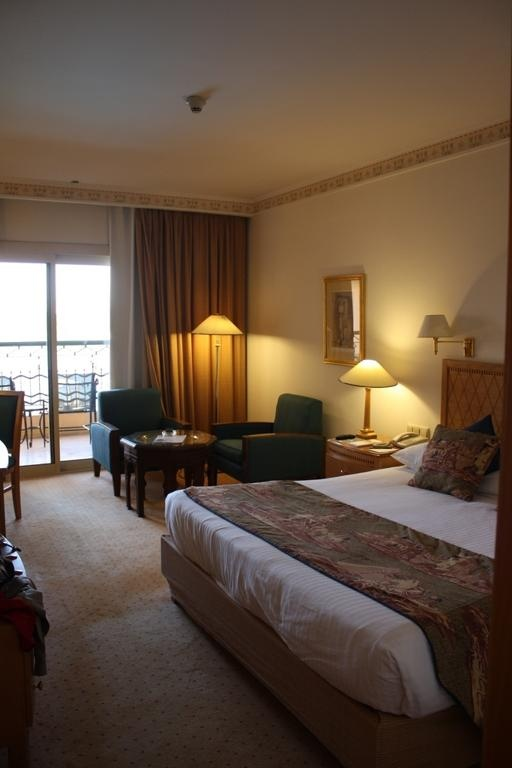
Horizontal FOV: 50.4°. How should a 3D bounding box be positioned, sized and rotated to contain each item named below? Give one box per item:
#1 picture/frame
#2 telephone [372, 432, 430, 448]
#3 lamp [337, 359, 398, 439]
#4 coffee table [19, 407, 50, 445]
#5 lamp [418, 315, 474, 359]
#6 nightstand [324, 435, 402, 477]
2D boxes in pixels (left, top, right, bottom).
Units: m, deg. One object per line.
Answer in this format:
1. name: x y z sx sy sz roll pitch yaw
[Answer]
1. picture/frame: 0.770 -0.571 4.850 0.049 0.805 0.579 -1 4 -27
2. telephone: 1.088 0.426 4.035 0.234 0.075 0.174 -6 5 -20
3. lamp: 0.839 0.095 4.383 0.538 0.740 0.558 2 6 14
4. coffee table: -2.340 0.444 5.877 0.331 0.365 0.328 -7 12 -40
5. lamp: 1.273 -0.325 3.698 0.360 0.320 0.226 -1 2 -16
6. nightstand: 0.820 0.506 4.210 0.275 0.461 0.465 -1 5 -22
